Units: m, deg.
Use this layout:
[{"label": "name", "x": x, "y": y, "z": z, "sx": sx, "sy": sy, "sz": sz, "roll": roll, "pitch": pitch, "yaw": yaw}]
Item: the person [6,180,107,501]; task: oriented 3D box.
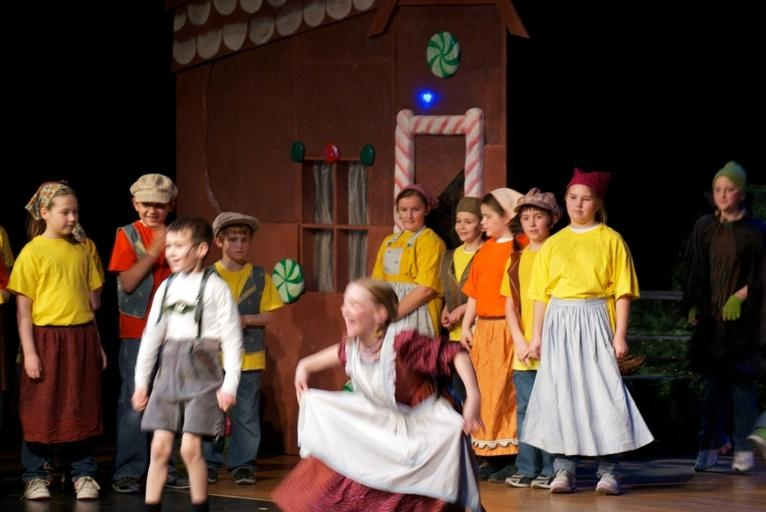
[{"label": "person", "x": -2.163, "y": 0.546, "z": 5.503, "sx": 0.592, "sy": 2.077, "sz": 0.398, "roll": 0, "pitch": -2, "yaw": -19}]

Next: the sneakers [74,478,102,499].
[{"label": "sneakers", "x": -1.954, "y": 1.518, "z": 5.459, "sx": 0.161, "sy": 0.126, "sz": 0.260, "roll": 0, "pitch": -3, "yaw": -20}]

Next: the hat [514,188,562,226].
[{"label": "hat", "x": 1.074, "y": -0.368, "z": 5.644, "sx": 0.203, "sy": 0.115, "sz": 0.291, "roll": 1, "pitch": -30, "yaw": 29}]

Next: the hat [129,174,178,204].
[{"label": "hat", "x": -1.576, "y": -0.461, "z": 5.686, "sx": 0.288, "sy": 0.208, "sz": 0.141, "roll": 0, "pitch": -3, "yaw": -18}]

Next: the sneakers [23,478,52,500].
[{"label": "sneakers", "x": -2.252, "y": 1.506, "z": 5.377, "sx": 0.159, "sy": 0.124, "sz": 0.170, "roll": 0, "pitch": -3, "yaw": -20}]

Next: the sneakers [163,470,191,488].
[{"label": "sneakers", "x": -1.438, "y": 1.529, "z": 5.685, "sx": 0.229, "sy": 0.103, "sz": 0.086, "roll": 2, "pitch": -2, "yaw": 4}]

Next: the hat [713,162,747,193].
[{"label": "hat", "x": 2.584, "y": -0.586, "z": 6.121, "sx": 0.189, "sy": 0.242, "sz": 0.352, "roll": -2, "pitch": -3, "yaw": 28}]

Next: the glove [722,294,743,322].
[{"label": "glove", "x": 2.556, "y": 0.380, "z": 6.051, "sx": 0.050, "sy": 0.184, "sz": 0.133, "roll": 23, "pitch": -23, "yaw": -37}]

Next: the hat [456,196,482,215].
[{"label": "hat", "x": 0.620, "y": -0.356, "z": 5.894, "sx": 0.149, "sy": 0.115, "sz": 0.108, "roll": 6, "pitch": -2, "yaw": 4}]

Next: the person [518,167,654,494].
[{"label": "person", "x": 1.312, "y": 0.359, "z": 5.439, "sx": 0.810, "sy": 1.835, "sz": 0.218, "roll": -1, "pitch": -2, "yaw": 6}]

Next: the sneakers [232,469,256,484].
[{"label": "sneakers", "x": -0.953, "y": 1.535, "z": 5.762, "sx": 0.074, "sy": 0.085, "sz": 0.184, "roll": 5, "pitch": -12, "yaw": -27}]

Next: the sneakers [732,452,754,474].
[{"label": "sneakers", "x": 2.638, "y": 1.481, "z": 6.026, "sx": 0.181, "sy": 0.139, "sz": 0.162, "roll": -1, "pitch": -3, "yaw": 4}]

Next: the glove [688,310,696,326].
[{"label": "glove", "x": 2.340, "y": 0.467, "z": 6.248, "sx": 0.033, "sy": 0.106, "sz": 0.078, "roll": -6, "pitch": -26, "yaw": 1}]
